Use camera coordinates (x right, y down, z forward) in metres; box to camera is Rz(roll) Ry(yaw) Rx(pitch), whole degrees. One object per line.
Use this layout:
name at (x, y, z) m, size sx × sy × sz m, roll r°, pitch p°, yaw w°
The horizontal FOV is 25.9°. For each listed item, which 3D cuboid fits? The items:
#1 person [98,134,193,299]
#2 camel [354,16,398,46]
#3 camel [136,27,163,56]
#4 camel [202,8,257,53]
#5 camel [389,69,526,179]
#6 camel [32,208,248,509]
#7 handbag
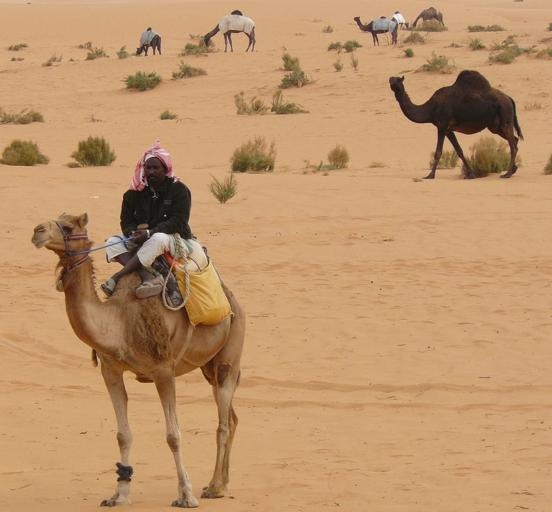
person at (-1.527, -0.435, 13.961) m, size 0.901 × 1.712 × 1.282 m, roll 2°, pitch 1°, yaw 29°
camel at (4.517, -9.886, 52.295) m, size 1.308 × 1.200 × 2.706 m, roll -4°, pitch 16°, yaw -9°
camel at (-5.367, -9.066, 50.620) m, size 1.011 × 1.121 × 1.703 m, roll -4°, pitch 16°, yaw -7°
camel at (-1.938, -9.656, 51.535) m, size 2.461 × 1.625 × 0.691 m, roll 2°, pitch 10°, yaw 21°
camel at (4.472, -3.355, 26.986) m, size 3.149 × 2.686 × 2.483 m, roll -16°, pitch 25°, yaw -35°
camel at (-1.516, 1.066, 13.896) m, size 2.311 × 3.329 × 3.245 m, roll -1°, pitch 18°, yaw -4°
handbag at (-0.840, 0.394, 13.899) m, size 0.531 × 0.731 × 0.303 m, roll -19°, pitch -9°, yaw -14°
